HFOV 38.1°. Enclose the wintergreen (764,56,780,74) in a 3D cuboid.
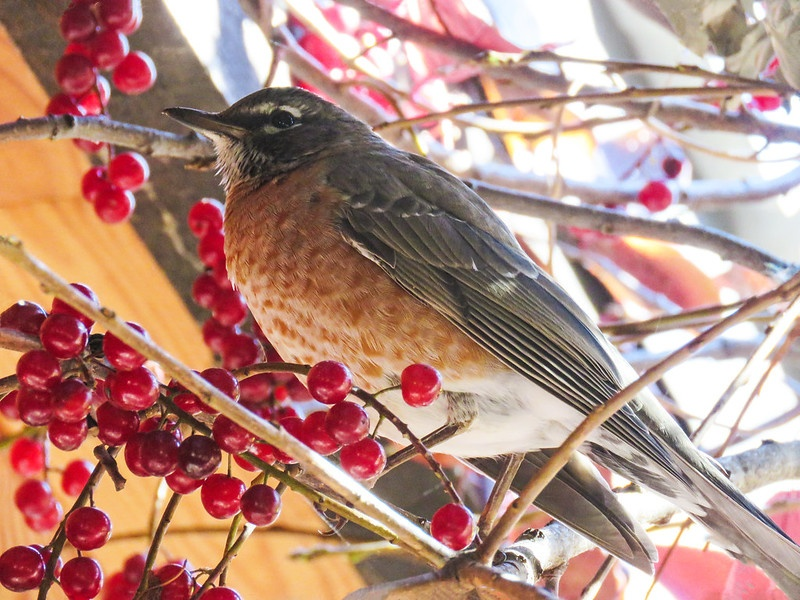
[{"bbox_3d":[1.052,-0.659,3.288,0.034,0.030,0.051,-18,-60,10],"label":"wintergreen"}]
